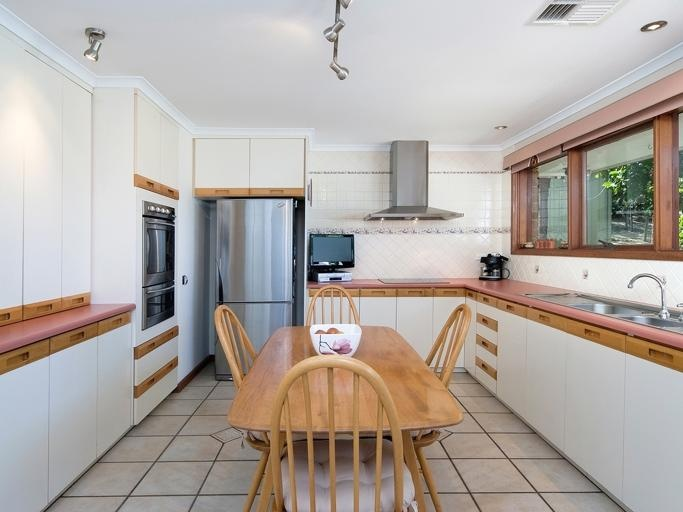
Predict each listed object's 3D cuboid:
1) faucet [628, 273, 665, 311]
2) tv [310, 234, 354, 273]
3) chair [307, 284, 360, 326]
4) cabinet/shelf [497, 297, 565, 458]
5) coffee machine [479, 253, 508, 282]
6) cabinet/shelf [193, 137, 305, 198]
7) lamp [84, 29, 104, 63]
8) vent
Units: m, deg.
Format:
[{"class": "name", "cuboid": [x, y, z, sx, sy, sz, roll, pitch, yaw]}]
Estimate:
[{"class": "faucet", "cuboid": [2.081, 0.252, 3.104, 0.231, 0.357, 0.068, -5, 37, 34]}, {"class": "tv", "cuboid": [-0.059, -0.058, 5.164, 0.513, 0.426, 0.278, 0, 5, 19]}, {"class": "chair", "cuboid": [-0.092, 0.482, 4.429, 0.451, 0.667, 0.462, 0, -8, -1]}, {"class": "cabinet/shelf", "cuboid": [1.456, 0.935, 3.480, 0.340, 0.998, 1.069, 2, 0, -2]}, {"class": "coffee machine", "cuboid": [1.695, 0.163, 5.169, 0.326, 0.332, 0.290, -3, -8, 27]}, {"class": "cabinet/shelf", "cuboid": [-0.915, -0.902, 4.802, 1.167, 0.576, 0.379, 1, 1, 3]}, {"class": "lamp", "cuboid": [-1.629, -1.379, 3.005, 0.127, 0.194, 0.112, 14, -6, -41]}, {"class": "vent", "cuboid": [0.786, -0.783, 4.929, 0.961, 0.850, 0.860, 0, 1, -1]}]
